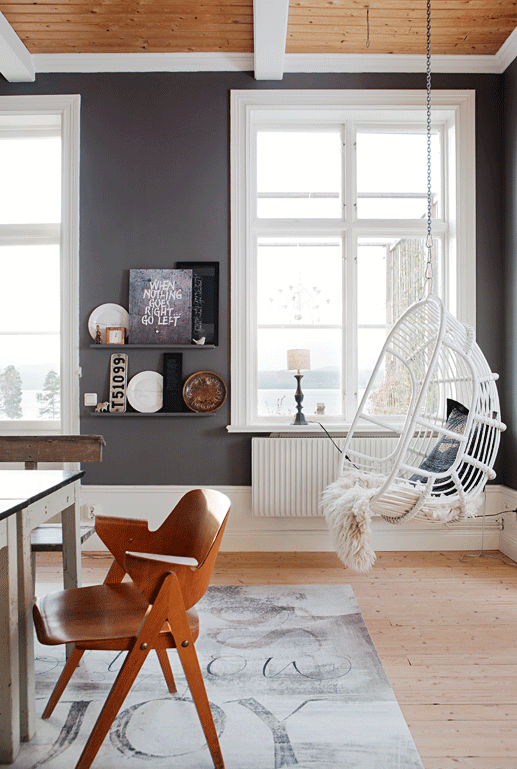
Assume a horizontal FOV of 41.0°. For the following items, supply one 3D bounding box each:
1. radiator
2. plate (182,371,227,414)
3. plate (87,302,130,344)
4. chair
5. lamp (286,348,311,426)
[{"bbox_3d":[0.250,0.537,4.047,0.612,0.454,0.061,-4,-13,29],"label":"radiator"},{"bbox_3d":[-0.320,0.038,4.097,0.251,0.247,0.058,-1,4,-6],"label":"plate"},{"bbox_3d":[-0.899,-0.370,4.122,0.232,0.230,0.074,-2,7,-15],"label":"plate"},{"bbox_3d":[-0.366,0.667,2.530,0.789,1.070,0.817,5,-1,-21],"label":"chair"},{"bbox_3d":[0.236,0.001,4.161,0.134,0.447,0.289,0,7,4],"label":"lamp"}]
